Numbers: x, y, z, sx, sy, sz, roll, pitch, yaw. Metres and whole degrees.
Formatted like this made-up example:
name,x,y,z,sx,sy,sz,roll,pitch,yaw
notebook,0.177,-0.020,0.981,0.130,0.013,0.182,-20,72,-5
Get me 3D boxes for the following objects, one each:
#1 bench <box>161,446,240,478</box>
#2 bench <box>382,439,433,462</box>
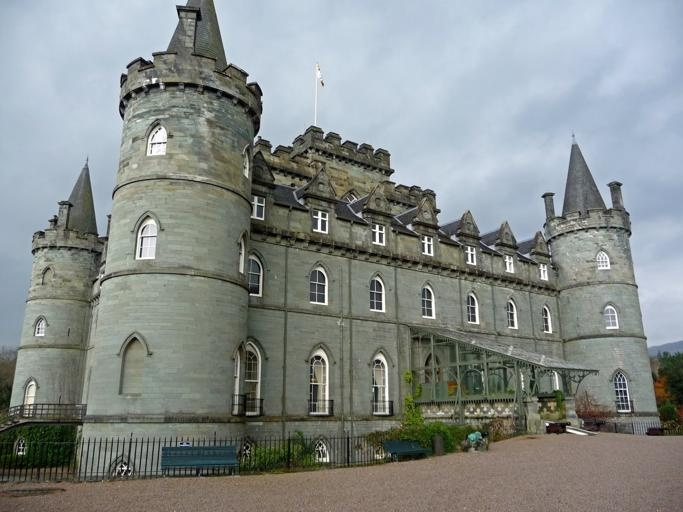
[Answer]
name,x,y,z,sx,sy,sz,roll,pitch,yaw
bench,-5.491,7.913,20.800,2.871,1.220,2.616,3,-22,-15
bench,2.835,8.556,23.634,2.447,0.890,1.054,16,-27,-40
